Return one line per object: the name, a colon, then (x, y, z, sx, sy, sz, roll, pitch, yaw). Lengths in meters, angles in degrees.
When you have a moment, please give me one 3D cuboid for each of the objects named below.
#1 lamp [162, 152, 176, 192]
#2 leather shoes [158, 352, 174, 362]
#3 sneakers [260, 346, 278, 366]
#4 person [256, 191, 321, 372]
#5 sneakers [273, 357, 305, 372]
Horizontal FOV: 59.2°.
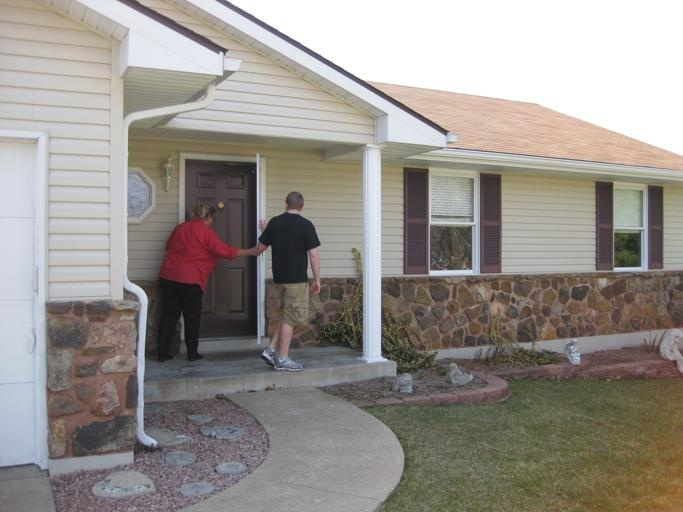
lamp: (-2.466, -1.185, 8.630, 0.200, 0.527, 0.142, 1, 4, -31)
leather shoes: (-2.321, 1.330, 7.942, 0.084, 0.147, 0.213, 6, 10, 17)
sneakers: (-0.939, 1.277, 7.639, 0.122, 0.152, 0.316, -1, -28, 39)
person: (-0.668, 0.306, 7.699, 0.761, 2.232, 0.545, 3, 4, -2)
sneakers: (-0.665, 1.383, 7.588, 0.374, 0.167, 0.154, 1, 1, -9)
